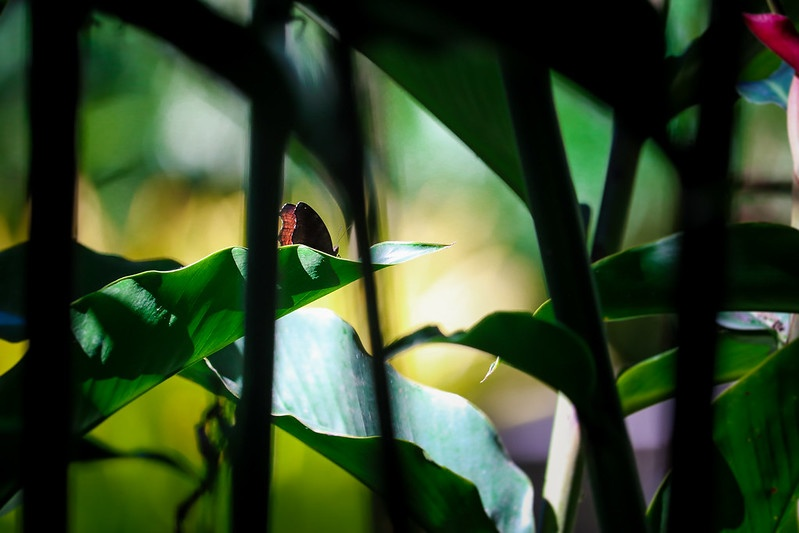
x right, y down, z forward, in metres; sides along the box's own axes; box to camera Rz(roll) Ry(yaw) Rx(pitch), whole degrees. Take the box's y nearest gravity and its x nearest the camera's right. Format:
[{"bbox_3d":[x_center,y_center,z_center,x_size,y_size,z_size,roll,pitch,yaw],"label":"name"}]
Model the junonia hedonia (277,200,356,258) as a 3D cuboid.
[{"bbox_3d":[-0.182,-0.074,1.688,0.086,0.117,0.045,5,1,-26],"label":"junonia hedonia"}]
